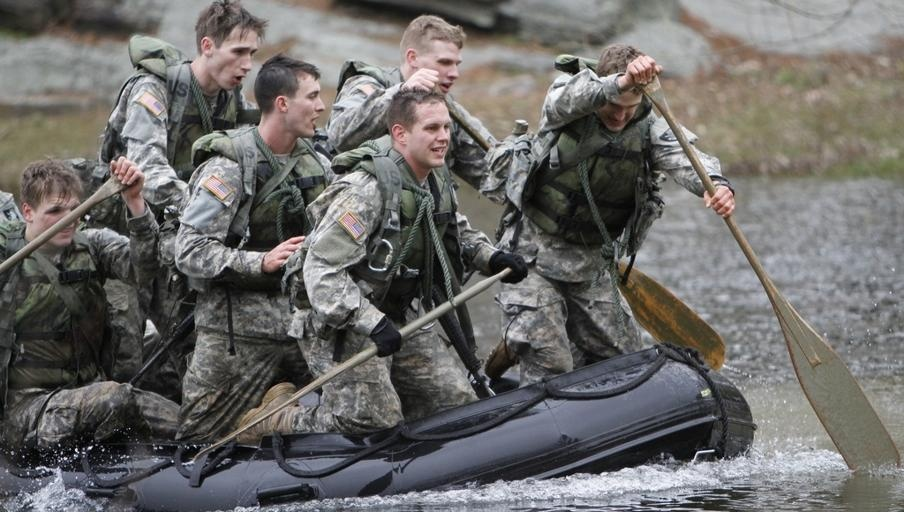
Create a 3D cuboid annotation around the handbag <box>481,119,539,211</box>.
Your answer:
[{"bbox_3d":[0.626,-0.993,19.159,0.429,1.084,0.534,1,1,28],"label":"handbag"}]

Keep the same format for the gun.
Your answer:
[{"bbox_3d":[-3.238,0.989,19.136,0.135,0.965,0.250,45,16,-2],"label":"gun"}]

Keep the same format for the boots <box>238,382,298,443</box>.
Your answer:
[{"bbox_3d":[-1.950,1.764,18.590,0.442,0.692,0.276,56,-2,45],"label":"boots"}]

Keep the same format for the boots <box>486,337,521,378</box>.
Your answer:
[{"bbox_3d":[0.575,1.150,19.422,0.218,0.262,0.598,10,-27,-15],"label":"boots"}]
